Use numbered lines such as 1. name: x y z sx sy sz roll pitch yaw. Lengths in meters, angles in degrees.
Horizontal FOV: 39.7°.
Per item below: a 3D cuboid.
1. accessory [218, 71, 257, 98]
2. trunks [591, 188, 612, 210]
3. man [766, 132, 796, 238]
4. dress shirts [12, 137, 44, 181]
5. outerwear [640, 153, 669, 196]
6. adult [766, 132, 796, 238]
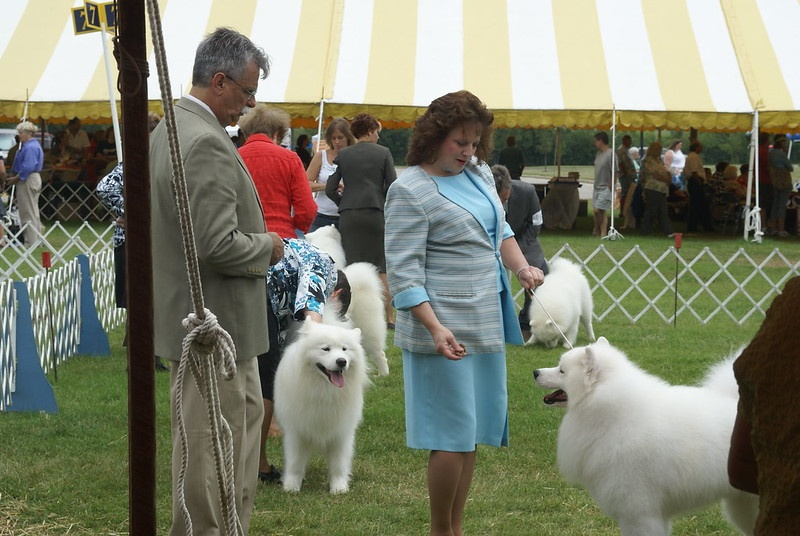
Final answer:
1. accessory: -1.692 -1.931 11.636 0.077 0.266 0.254 -33 -11 22
2. trunks: 4.458 -1.530 24.955 0.378 0.650 0.650 0 -3 -12
3. man: 8.567 -1.903 25.069 0.495 2.342 1.888 2 3 19
4. dress shirts: -7.388 -2.141 21.978 0.538 0.872 1.019 3 16 6
5. outerwear: 5.537 -2.003 24.096 0.687 0.921 0.799 -5 24 4
6. adult: 8.576 -1.904 25.095 0.495 2.342 1.943 2 3 19
